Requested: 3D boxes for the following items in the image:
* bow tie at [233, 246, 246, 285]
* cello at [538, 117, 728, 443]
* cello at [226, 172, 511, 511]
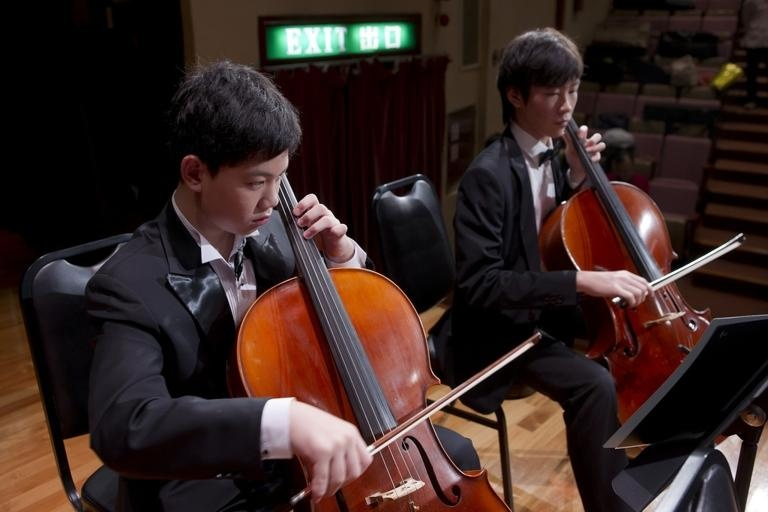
[{"bbox_3d":[-0.459,0.022,1.993,0.018,0.133,0.022,5,1,-10],"label":"bow tie"},{"bbox_3d":[0.957,0.114,2.605,0.516,1.330,0.408,-18,-7,-31],"label":"cello"},{"bbox_3d":[-0.097,0.379,1.948,0.562,1.428,0.407,-11,-20,-30],"label":"cello"}]
